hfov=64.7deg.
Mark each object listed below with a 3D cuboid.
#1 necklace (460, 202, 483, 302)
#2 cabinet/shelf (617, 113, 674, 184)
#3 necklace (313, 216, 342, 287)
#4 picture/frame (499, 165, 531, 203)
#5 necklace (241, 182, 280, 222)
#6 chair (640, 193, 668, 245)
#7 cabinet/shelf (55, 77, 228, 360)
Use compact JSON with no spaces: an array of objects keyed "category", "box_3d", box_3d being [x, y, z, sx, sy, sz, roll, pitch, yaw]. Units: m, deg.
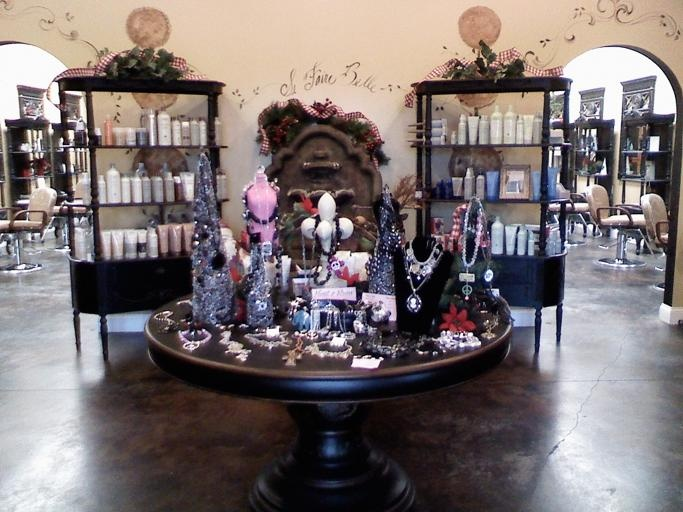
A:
[{"category":"necklace","box_3d":[0.706,-0.052,2.892,0.130,0.522,0.310,-1,5,15]},{"category":"cabinet/shelf","box_3d":[5.887,-2.087,10.382,0.521,1.328,1.263,-2,5,0]},{"category":"necklace","box_3d":[-0.104,-0.024,3.184,0.147,0.381,0.197,-5,6,-31]},{"category":"picture/frame","box_3d":[1.655,-0.686,5.118,0.347,0.430,0.029,1,1,5]},{"category":"necklace","box_3d":[-0.424,-0.277,2.841,0.164,0.202,0.206,1,-22,-10]},{"category":"chair","box_3d":[4.268,-0.483,7.338,0.320,0.723,1.183,1,6,30]},{"category":"cabinet/shelf","box_3d":[-1.820,-0.387,5.188,1.501,2.588,0.790,-5,6,-28]}]
